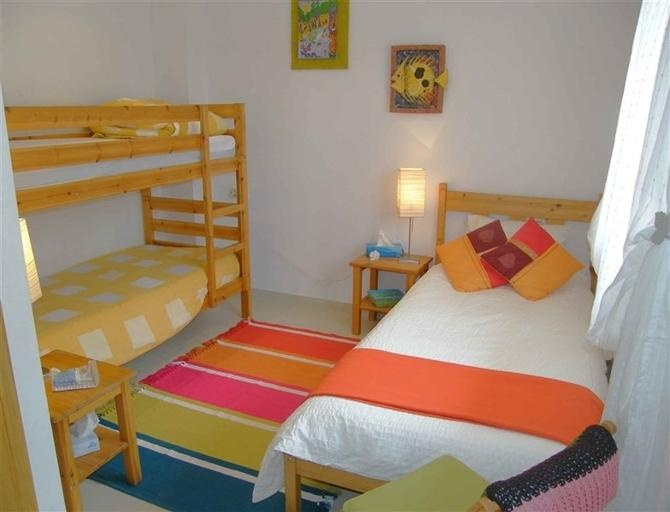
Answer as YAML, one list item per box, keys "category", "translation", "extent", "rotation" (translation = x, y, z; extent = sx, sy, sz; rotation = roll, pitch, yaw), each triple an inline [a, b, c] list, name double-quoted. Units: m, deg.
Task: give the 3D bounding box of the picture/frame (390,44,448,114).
- category: "picture/frame"
  translation: [0.718, -1.488, 4.186]
  extent: [0.528, 0.562, 0.073]
  rotation: [6, 20, 21]

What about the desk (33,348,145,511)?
- category: "desk"
  translation: [-1.200, 0.904, 2.458]
  extent: [0.249, 0.659, 0.455]
  rotation: [7, 19, 21]

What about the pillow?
- category: "pillow"
  translation: [1.283, 0.014, 3.722]
  extent: [0.717, 0.218, 0.713]
  rotation: [-34, 51, -15]

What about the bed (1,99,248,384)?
- category: "bed"
  translation: [-1.344, -0.096, 3.335]
  extent: [0.822, 1.493, 1.867]
  rotation: [7, 16, 23]
